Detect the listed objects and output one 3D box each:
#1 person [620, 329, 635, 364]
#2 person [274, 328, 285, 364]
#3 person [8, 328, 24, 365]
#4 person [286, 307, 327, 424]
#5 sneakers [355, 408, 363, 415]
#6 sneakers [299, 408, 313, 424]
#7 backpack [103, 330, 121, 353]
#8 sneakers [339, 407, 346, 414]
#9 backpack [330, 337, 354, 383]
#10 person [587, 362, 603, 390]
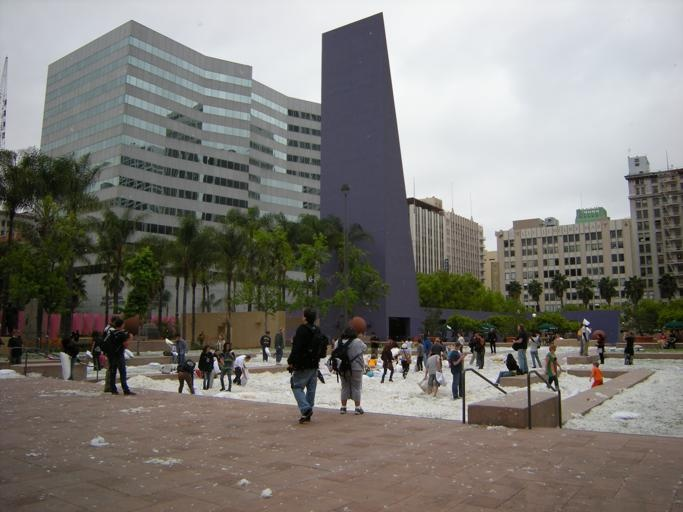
[{"bbox_3d":[15.289,4.963,31.045,0.377,1.689,2.274,-4,-9,28],"label":"person"},{"bbox_3d":[-3.302,4.801,30.677,0.407,1.814,1.576,1,-8,-8],"label":"person"},{"bbox_3d":[-13.379,3.789,23.882,0.470,1.375,1.665,4,-10,-30],"label":"person"},{"bbox_3d":[-0.688,2.175,11.604,0.764,2.188,1.193,0,-8,-6],"label":"person"},{"bbox_3d":[0.360,3.291,12.230,0.080,0.104,0.231,-1,-4,19],"label":"sneakers"},{"bbox_3d":[-0.686,3.076,11.069,0.144,0.367,0.163,13,31,-1],"label":"sneakers"},{"bbox_3d":[-5.812,2.203,14.719,0.651,0.588,0.329,-6,-10,32],"label":"backpack"},{"bbox_3d":[0.023,3.307,12.307,0.132,0.194,0.103,8,-18,-19],"label":"sneakers"},{"bbox_3d":[-0.023,2.192,12.403,0.503,0.827,0.383,-3,-8,19],"label":"backpack"},{"bbox_3d":[8.491,3.984,19.443,0.348,0.803,1.817,-4,-9,22],"label":"person"}]
